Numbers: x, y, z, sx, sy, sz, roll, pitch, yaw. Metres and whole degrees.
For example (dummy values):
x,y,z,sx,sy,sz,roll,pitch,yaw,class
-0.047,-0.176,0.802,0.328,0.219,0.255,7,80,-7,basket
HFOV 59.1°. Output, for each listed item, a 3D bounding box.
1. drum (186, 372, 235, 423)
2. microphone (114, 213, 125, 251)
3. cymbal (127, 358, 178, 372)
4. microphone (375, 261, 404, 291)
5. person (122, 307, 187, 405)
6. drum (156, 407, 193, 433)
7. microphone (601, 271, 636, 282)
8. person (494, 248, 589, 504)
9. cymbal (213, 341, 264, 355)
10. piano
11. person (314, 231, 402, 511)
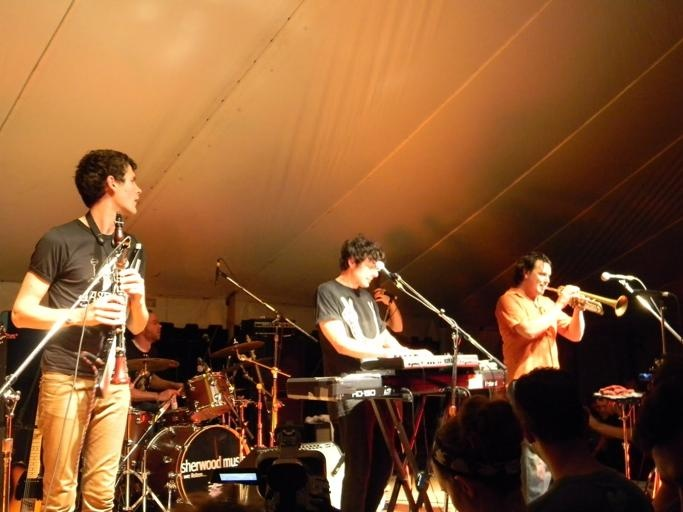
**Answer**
x,y,z,sx,sy,sz,roll,pitch,yaw,class
-1.372,1.464,6.134,0.468,0.365,0.478,-13,-26,-6,drum
-1.175,-0.131,3.193,0.053,0.169,0.142,0,-26,-20,microphone
-1.939,1.100,6.095,0.261,0.094,0.270,-20,-31,33,cymbal
0.470,0.187,6.025,0.119,0.386,0.119,-47,10,17,microphone
-2.074,1.152,6.560,0.595,1.139,0.552,3,2,-38,person
-1.669,1.627,6.073,0.220,0.240,0.229,-14,-10,27,drum
2.820,0.211,6.159,0.433,0.097,0.083,6,8,-28,microphone
1.621,1.053,4.854,0.649,2.035,0.560,-3,1,-9,person
-1.083,1.006,6.557,0.280,0.080,0.292,-19,-16,20,cymbal
0.403,0.767,3.693,1.425,0.284,0.394,-3,-26,-17,piano
0.143,0.692,4.033,0.571,1.821,0.552,4,0,-32,person
